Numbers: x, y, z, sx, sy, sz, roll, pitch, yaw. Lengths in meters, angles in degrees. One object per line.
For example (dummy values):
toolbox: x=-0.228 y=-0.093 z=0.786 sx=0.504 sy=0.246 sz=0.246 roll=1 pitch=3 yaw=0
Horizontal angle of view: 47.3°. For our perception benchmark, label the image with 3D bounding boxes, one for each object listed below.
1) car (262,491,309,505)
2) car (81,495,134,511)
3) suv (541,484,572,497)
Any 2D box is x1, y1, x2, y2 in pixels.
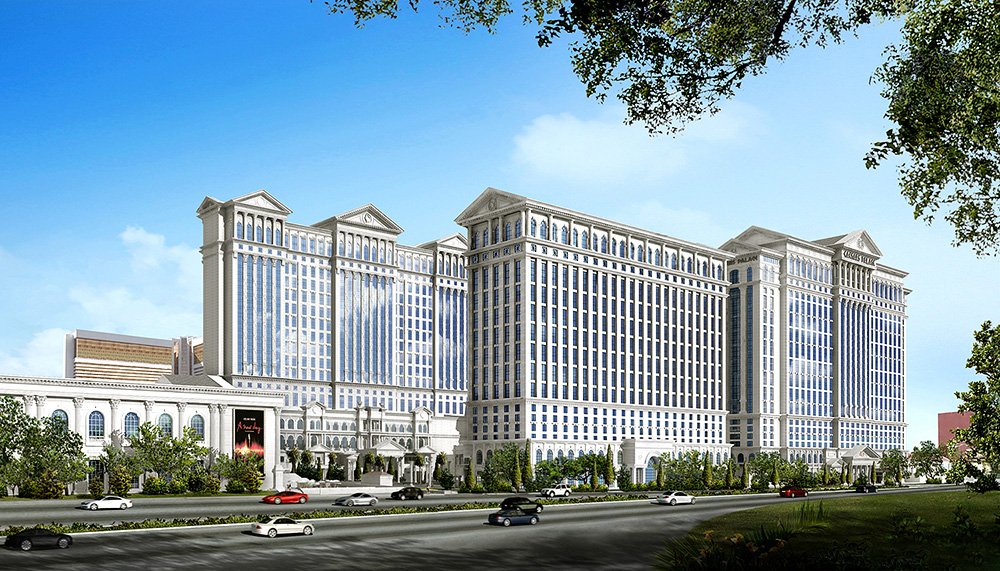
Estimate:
car: x=-27.890 y=28.047 z=150.133 sx=4.617 sy=1.031 sz=2.472 roll=7 pitch=-11 yaw=-28
car: x=-48.832 y=27.273 z=142.046 sx=5.930 sy=1.406 sz=2.299 roll=4 pitch=-9 yaw=-10
suv: x=8.240 y=30.679 z=170.550 sx=4.519 sy=1.438 sz=2.097 roll=9 pitch=-15 yaw=-32
